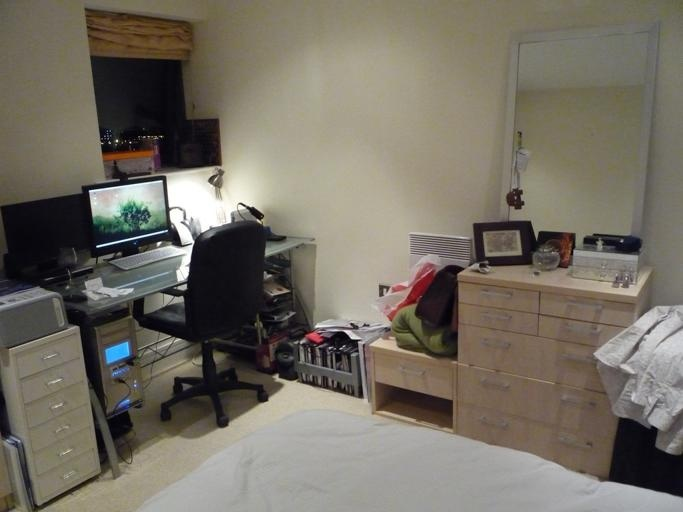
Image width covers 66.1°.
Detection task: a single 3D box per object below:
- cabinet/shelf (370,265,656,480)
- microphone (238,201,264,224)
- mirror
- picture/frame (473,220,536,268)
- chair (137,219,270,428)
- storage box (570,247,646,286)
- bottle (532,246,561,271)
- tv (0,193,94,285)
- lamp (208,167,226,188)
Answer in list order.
[{"bbox_3d":[0.947,0.598,2.719,1.005,0.693,0.392,7,12,32],"label":"cabinet/shelf"},{"bbox_3d":[-0.669,-0.384,4.016,0.236,0.061,0.146,34,-22,7],"label":"microphone"},{"bbox_3d":[1.365,-0.623,3.074,0.746,1.352,0.045,1,40,20],"label":"mirror"},{"bbox_3d":[0.955,-0.066,3.063,0.274,0.237,0.096,0,0,7],"label":"picture/frame"},{"bbox_3d":[-0.920,0.383,3.530,0.814,1.248,0.827,-4,11,-34],"label":"chair"},{"bbox_3d":[1.405,0.045,2.777,0.334,0.159,0.161,4,12,21],"label":"storage box"},{"bbox_3d":[1.121,0.014,2.888,0.136,0.131,0.137,0,6,9],"label":"bottle"},{"bbox_3d":[-1.788,-0.105,3.147,0.240,0.440,0.444,9,20,32],"label":"tv"},{"bbox_3d":[-1.000,-0.625,4.200,0.136,0.175,0.272,-3,12,-12],"label":"lamp"}]
